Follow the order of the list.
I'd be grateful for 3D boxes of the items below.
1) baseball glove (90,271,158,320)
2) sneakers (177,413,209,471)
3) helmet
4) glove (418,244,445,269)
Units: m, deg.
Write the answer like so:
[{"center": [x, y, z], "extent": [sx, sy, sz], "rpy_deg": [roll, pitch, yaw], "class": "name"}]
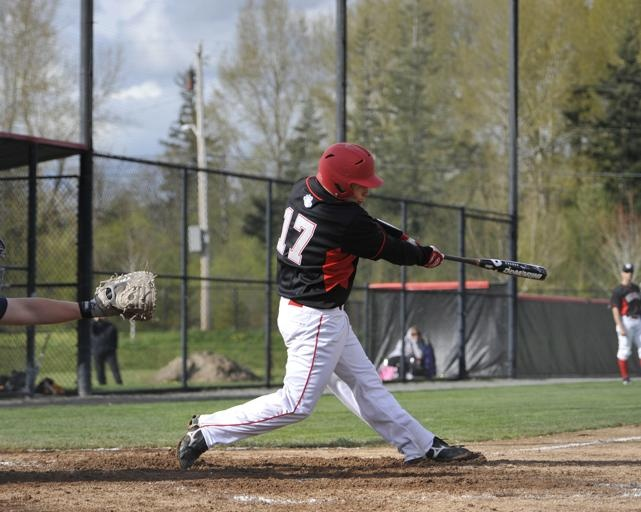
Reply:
[{"center": [-2.089, 0.446, 16.067], "extent": [0.576, 0.412, 0.448], "rpy_deg": [-14, -20, 37], "class": "baseball glove"}, {"center": [-1.386, 1.996, 16.137], "extent": [0.224, 0.656, 0.284], "rpy_deg": [24, -1, -12], "class": "sneakers"}, {"center": [0.287, -0.895, 16.282], "extent": [0.640, 0.528, 0.490], "rpy_deg": [17, -8, -5], "class": "helmet"}, {"center": [1.197, -0.018, 16.479], "extent": [0.227, 0.236, 0.183], "rpy_deg": [-9, 32, 10], "class": "glove"}]
